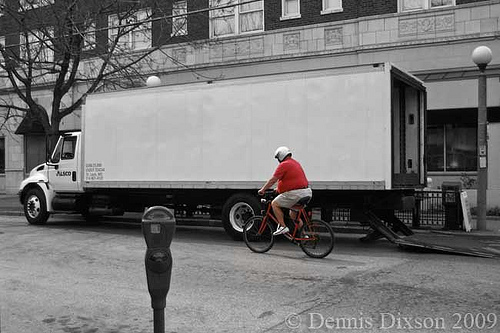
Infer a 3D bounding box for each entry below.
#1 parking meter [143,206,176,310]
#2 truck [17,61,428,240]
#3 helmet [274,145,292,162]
[{"bbox_3d":[-1.545,1.786,10.547,0.543,2.138,0.661,1,1,-10],"label":"parking meter"},{"bbox_3d":[-1.988,-0.067,20.892,14.664,5.341,3.925,0,0,29],"label":"truck"},{"bbox_3d":[0.867,-0.354,16.482,0.330,0.417,0.451,-14,20,-38],"label":"helmet"}]
